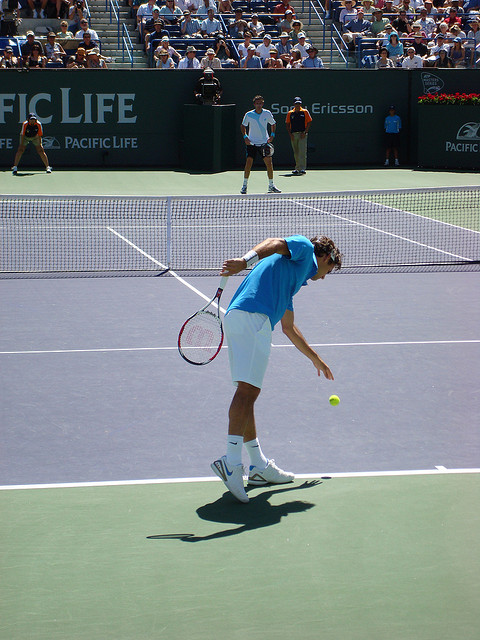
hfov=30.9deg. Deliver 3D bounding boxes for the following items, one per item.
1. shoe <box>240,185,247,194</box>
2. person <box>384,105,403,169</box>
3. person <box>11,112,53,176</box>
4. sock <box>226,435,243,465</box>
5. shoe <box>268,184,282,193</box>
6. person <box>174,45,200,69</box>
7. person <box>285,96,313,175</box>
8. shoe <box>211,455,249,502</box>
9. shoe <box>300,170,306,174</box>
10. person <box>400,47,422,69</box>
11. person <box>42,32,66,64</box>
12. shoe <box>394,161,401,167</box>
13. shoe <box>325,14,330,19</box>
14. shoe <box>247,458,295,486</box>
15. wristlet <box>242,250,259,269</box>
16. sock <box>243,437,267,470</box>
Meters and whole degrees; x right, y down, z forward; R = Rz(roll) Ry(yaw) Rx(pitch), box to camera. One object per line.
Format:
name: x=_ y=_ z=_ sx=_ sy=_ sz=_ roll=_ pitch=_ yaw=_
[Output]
shoe: x=0.088 y=-2.563 z=17.231 sx=0.102 sy=0.176 sz=0.183 roll=8 pitch=12 yaw=18
person: x=3.887 y=-4.650 z=22.135 sx=0.468 sy=1.548 sz=0.821 roll=3 pitch=14 yaw=8
person: x=-4.776 y=-4.038 z=19.976 sx=0.958 sy=1.415 sz=2.172 roll=-3 pitch=13 yaw=-14
sock: x=-0.025 y=0.623 z=4.221 sx=0.069 sy=0.169 sz=0.144 roll=0 pitch=13 yaw=-1
shoe: x=0.704 y=-2.595 z=17.368 sx=0.371 sy=0.136 sz=0.115 roll=2 pitch=23 yaw=-19
person: x=-1.289 y=-6.556 z=21.860 sx=0.555 sy=0.504 sz=1.013 roll=0 pitch=12 yaw=-3
person: x=1.329 y=-4.163 z=19.941 sx=0.523 sy=1.701 sz=1.068 roll=1 pitch=13 yaw=3
shoe: x=-0.036 y=0.780 z=4.216 sx=0.196 sy=0.253 sz=0.079 roll=-5 pitch=15 yaw=-22
shoe: x=1.484 y=-3.496 z=20.624 sx=0.110 sy=0.127 sz=0.039 roll=0 pitch=21 yaw=3
person: x=4.428 y=-6.674 z=22.426 sx=0.526 sy=0.535 sz=1.129 roll=3 pitch=12 yaw=9
person: x=-4.657 y=-6.760 z=21.915 sx=0.559 sy=0.753 sz=1.323 roll=-2 pitch=12 yaw=-11
shoe: x=4.033 y=-3.969 z=22.357 sx=0.094 sy=0.189 sz=0.291 roll=-3 pitch=4 yaw=13
shoe: x=2.545 y=-8.821 z=25.360 sx=0.147 sy=0.120 sz=0.178 roll=-1 pitch=-10 yaw=4
shoe: x=0.152 y=0.804 z=4.550 sx=0.310 sy=0.128 sz=0.099 roll=0 pitch=0 yaw=-5
wristlet: x=0.041 y=-0.280 z=4.106 sx=0.065 sy=0.075 sz=0.065 roll=-4 pitch=22 yaw=-39
sock: x=0.075 y=0.696 z=4.554 sx=0.119 sy=0.181 sz=0.155 roll=-2 pitch=13 yaw=-13
